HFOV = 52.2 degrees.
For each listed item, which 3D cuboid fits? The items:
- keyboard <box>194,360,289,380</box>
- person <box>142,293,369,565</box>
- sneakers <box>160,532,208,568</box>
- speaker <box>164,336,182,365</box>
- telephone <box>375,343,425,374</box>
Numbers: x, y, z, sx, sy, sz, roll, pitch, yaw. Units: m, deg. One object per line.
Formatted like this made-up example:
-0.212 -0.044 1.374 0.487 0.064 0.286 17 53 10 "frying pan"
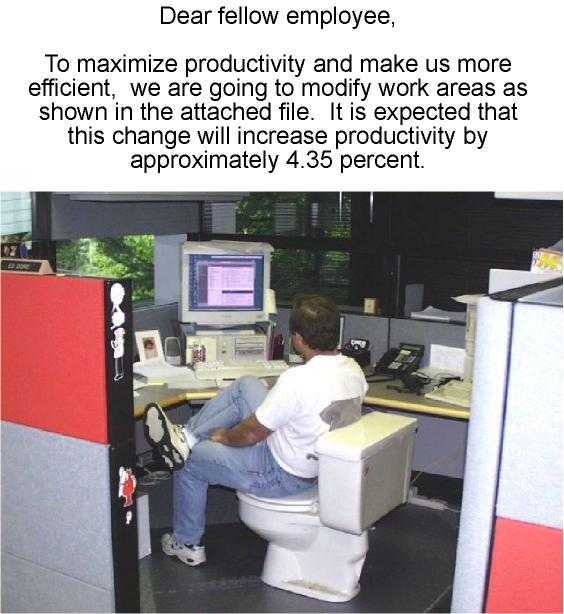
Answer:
-0.214 0.304 2.852 0.278 0.037 0.162 -3 11 -14 "keyboard"
-0.117 0.521 2.387 0.862 1.188 0.476 8 5 8 "person"
-0.433 1.050 2.552 0.219 0.100 0.084 24 24 28 "sneakers"
-0.556 0.223 3.007 0.086 0.147 0.146 1 20 -5 "speaker"
0.601 0.257 2.955 0.217 0.134 0.254 4 6 22 "telephone"
